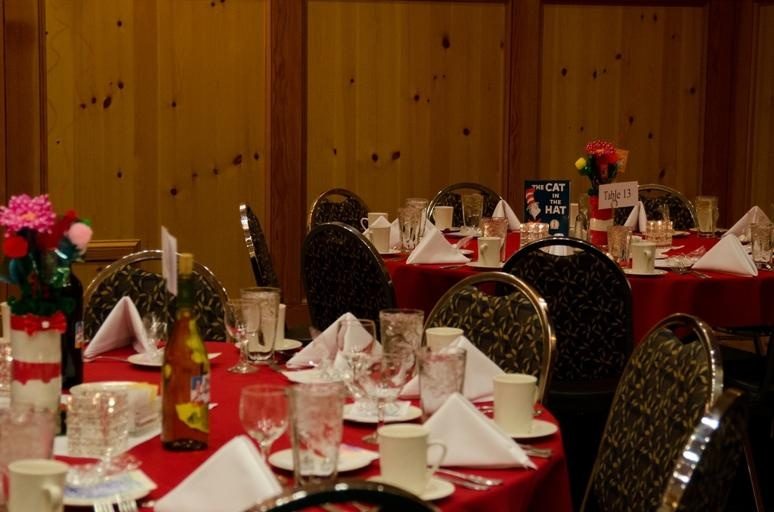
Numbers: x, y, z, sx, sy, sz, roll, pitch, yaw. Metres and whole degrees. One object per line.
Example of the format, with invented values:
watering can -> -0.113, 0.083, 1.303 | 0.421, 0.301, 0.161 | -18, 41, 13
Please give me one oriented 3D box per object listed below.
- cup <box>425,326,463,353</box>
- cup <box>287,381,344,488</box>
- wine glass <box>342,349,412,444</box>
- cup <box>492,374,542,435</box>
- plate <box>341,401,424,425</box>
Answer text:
cup -> 0.155, 0.223, 1.860 | 0.061, 0.057, 0.060 | -1, 4, 0
cup -> -0.144, 0.364, 1.412 | 0.110, 0.216, 0.108 | -1, 6, 0
wine glass -> -0.014, 0.349, 1.724 | 0.155, 0.245, 0.182 | 0, 2, -1
cup -> 0.308, 0.363, 1.673 | 0.110, 0.144, 0.101 | 1, 0, 0
plate -> -0.018, 0.401, 1.731 | 0.100, 0.017, 0.111 | 1, 3, 19
